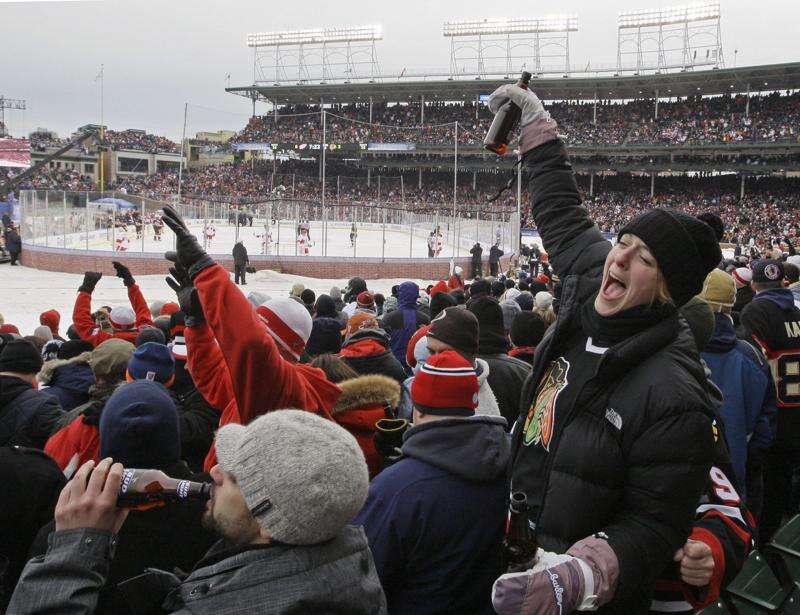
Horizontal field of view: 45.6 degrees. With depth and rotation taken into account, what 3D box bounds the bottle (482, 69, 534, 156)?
[{"bbox_3d":[0.667,-1.195,5.712,0.122,0.467,0.133,19,14,-5],"label":"bottle"}]
